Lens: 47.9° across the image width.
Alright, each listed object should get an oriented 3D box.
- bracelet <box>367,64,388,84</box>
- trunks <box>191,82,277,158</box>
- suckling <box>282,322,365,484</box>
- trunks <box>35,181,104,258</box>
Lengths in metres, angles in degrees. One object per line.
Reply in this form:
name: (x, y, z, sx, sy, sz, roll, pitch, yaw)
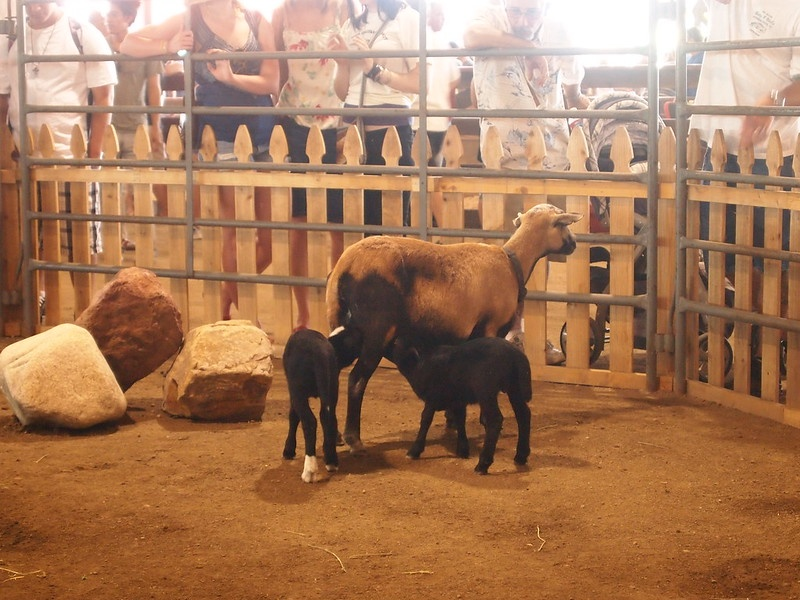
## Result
bracelet: (-0.210, -2.003, 7.978, 0.122, 0.103, 0.168, 5, -21, -15)
trunks: (-1.574, -1.627, 8.518, 0.793, 1.171, 0.592, -2, 5, -23)
suckling: (-0.560, 0.635, 5.787, 0.431, 0.900, 0.584, 5, 14, 20)
trunks: (-3.300, -0.826, 9.104, 0.649, 0.996, 0.212, 0, 4, 1)
